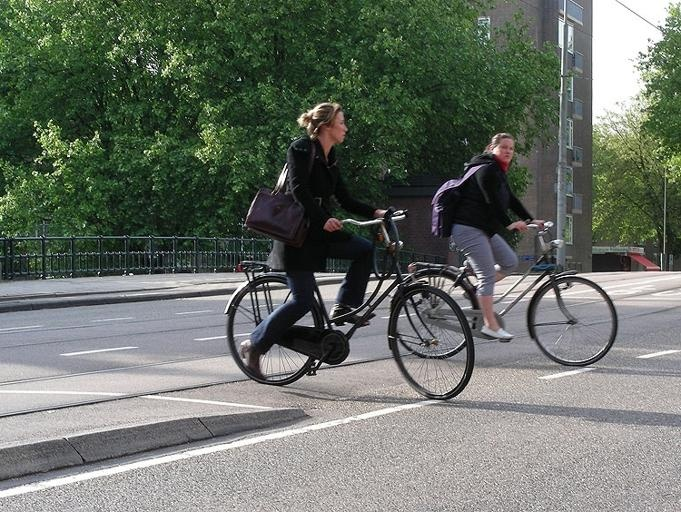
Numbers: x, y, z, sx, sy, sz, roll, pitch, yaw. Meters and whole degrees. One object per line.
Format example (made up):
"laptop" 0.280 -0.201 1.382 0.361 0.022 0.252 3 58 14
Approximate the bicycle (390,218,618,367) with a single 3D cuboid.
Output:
"bicycle" 1.673 0.524 7.172 2.306 1.443 1.135 -4 1 4

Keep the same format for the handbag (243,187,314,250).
"handbag" -0.526 -0.318 6.290 0.511 0.487 0.316 -1 1 -2

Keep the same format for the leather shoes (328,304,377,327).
"leather shoes" 0.086 0.503 6.518 0.433 0.210 0.151 -4 9 7

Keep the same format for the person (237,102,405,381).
"person" -0.275 -0.088 6.401 1.117 2.314 0.551 -1 1 8

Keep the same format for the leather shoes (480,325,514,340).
"leather shoes" 1.480 0.713 7.172 0.298 0.114 0.115 4 6 28

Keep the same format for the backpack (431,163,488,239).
"backpack" 1.161 -0.512 7.759 0.680 0.727 0.484 2 4 9
